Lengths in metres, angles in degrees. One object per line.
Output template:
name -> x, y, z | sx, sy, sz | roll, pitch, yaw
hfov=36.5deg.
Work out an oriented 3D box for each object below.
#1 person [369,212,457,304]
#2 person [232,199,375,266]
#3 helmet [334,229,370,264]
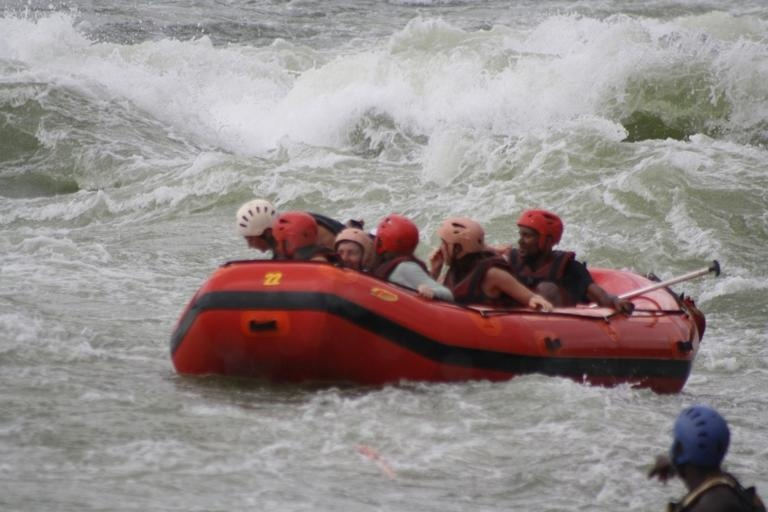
person -> 0.421, 0.041, 18.061 | 1.081, 0.686, 1.638 | -32, 49, -18
person -> -1.365, -0.449, 18.617 | 1.888, 0.601, 1.071 | 14, -5, -16
helmet -> -0.457, -0.165, 18.028 | 0.506, 0.527, 0.485 | 2, 6, 21
